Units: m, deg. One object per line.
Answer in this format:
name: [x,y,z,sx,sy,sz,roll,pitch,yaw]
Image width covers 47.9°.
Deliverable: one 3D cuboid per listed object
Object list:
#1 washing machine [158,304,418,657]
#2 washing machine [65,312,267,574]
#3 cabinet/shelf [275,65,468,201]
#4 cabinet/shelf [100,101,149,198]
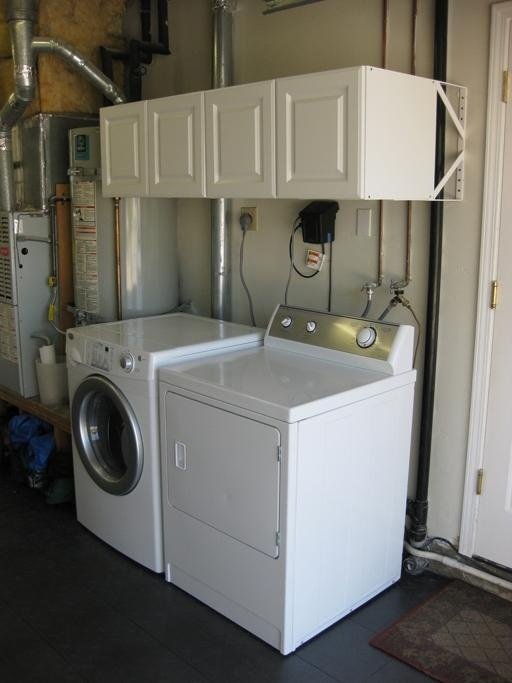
washing machine: [0.086,0.403,2.054,0.668,0.998,0.620,11,14,41]
washing machine: [-0.423,0.391,2.530,0.592,0.901,0.621,12,17,41]
cabinet/shelf: [0.384,-0.658,1.907,0.512,0.397,0.384,-9,16,-37]
cabinet/shelf: [-0.645,-0.868,2.550,0.285,0.372,0.283,-8,28,-26]
